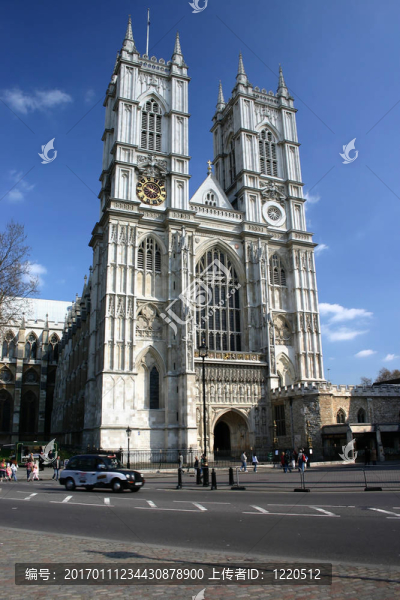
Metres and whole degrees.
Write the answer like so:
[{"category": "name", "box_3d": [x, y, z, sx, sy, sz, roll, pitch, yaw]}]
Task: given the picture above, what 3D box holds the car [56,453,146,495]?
[{"category": "car", "box_3d": [-3.776, 6.734, 21.417, 3.113, 1.254, 1.572, -11, -32, 21]}]
